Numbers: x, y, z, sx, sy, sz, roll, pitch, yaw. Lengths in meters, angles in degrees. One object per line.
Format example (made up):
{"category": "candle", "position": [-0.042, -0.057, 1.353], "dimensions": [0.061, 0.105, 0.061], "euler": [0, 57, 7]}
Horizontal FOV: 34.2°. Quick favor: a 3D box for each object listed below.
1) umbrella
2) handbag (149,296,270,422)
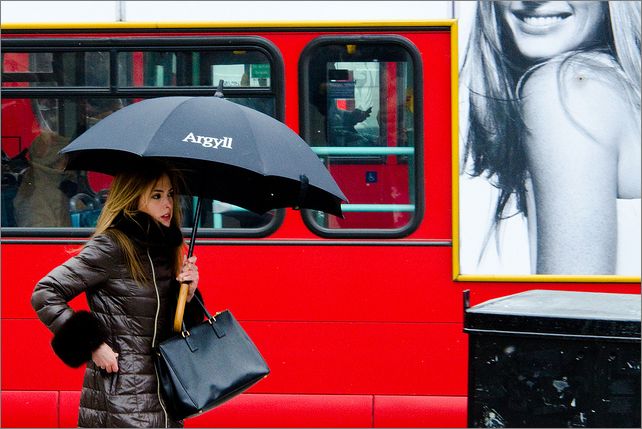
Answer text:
{"category": "umbrella", "position": [-0.843, -0.170, 7.292], "dimensions": [1.894, 1.344, 1.856], "euler": [7, -1, 22]}
{"category": "handbag", "position": [-0.764, 0.979, 6.923], "dimensions": [0.727, 0.871, 0.349], "euler": [-31, 6, -33]}
